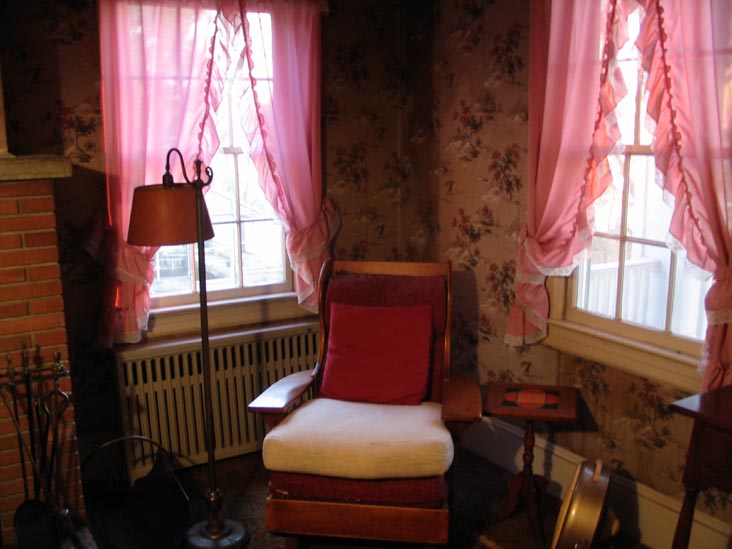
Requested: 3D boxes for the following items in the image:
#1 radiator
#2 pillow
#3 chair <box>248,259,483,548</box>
[{"bbox_3d":[-0.835,0.696,3.327,0.762,0.556,0.104,-6,11,-26],"label":"radiator"},{"bbox_3d":[0.055,0.403,3.244,0.466,0.514,0.154,-4,-12,10],"label":"pillow"},{"bbox_3d":[-0.026,0.539,3.326,1.071,1.405,1.235,0,0,12],"label":"chair"}]
